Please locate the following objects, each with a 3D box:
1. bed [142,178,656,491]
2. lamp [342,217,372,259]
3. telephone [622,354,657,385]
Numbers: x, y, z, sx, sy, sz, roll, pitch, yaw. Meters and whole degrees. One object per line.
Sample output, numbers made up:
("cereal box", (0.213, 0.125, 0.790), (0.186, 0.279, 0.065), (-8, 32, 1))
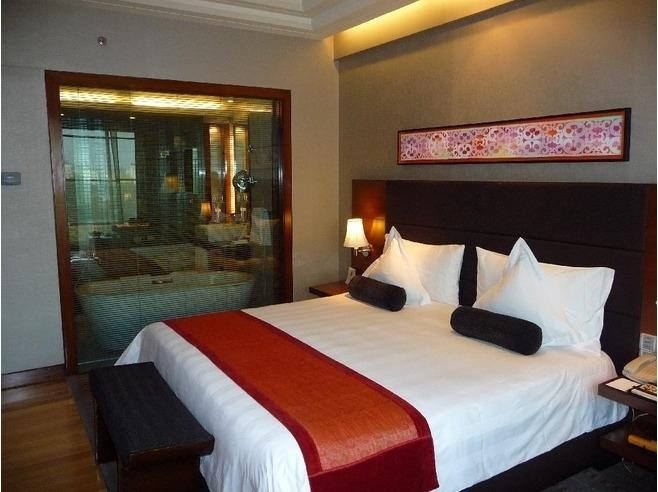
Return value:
("bed", (0.509, 0.567, 3.192), (1.467, 1.497, 2.150), (-1, 3, -20))
("lamp", (0.285, -0.126, 5.029), (0.385, 0.496, 0.363), (-2, 4, -37))
("telephone", (1.931, 0.765, 2.853), (0.160, 0.049, 0.153), (-12, 11, -31))
